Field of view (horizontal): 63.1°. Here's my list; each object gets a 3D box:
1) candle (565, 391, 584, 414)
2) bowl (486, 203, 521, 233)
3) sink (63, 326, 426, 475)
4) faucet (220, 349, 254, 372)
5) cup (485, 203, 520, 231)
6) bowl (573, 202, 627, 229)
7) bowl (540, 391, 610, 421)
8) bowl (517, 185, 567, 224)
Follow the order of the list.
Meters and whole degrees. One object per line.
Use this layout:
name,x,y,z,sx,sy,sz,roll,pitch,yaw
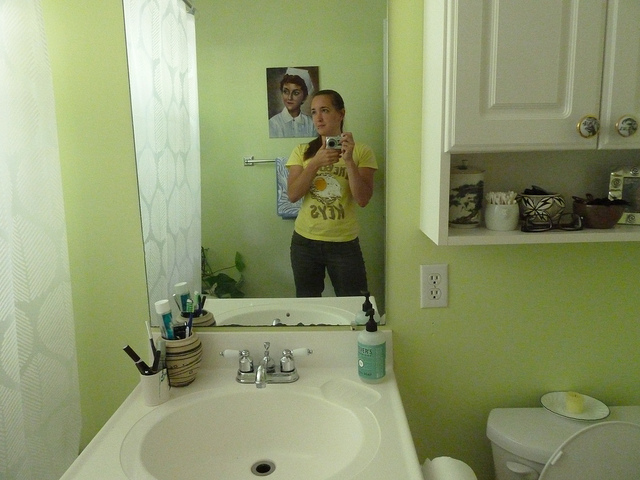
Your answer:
candle,0.814,0.521,1.664,0.053,0.062,0.055,-1,8,-6
bowl,0.545,-0.076,1.566,0.099,0.086,0.101,-4,19,1
sink,-0.178,0.521,1.608,0.674,0.304,0.620,-1,12,2
faucet,-0.257,0.386,1.673,0.108,0.090,0.051,1,3,1
cup,0.533,-0.067,1.524,0.080,0.066,0.082,-1,3,0
bowl,0.813,-0.071,1.509,0.088,0.048,0.089,3,-3,0
bowl,0.821,0.544,1.695,0.188,0.043,0.205,-4,8,1
bowl,0.662,-0.104,1.580,0.148,0.107,0.153,-3,7,0
